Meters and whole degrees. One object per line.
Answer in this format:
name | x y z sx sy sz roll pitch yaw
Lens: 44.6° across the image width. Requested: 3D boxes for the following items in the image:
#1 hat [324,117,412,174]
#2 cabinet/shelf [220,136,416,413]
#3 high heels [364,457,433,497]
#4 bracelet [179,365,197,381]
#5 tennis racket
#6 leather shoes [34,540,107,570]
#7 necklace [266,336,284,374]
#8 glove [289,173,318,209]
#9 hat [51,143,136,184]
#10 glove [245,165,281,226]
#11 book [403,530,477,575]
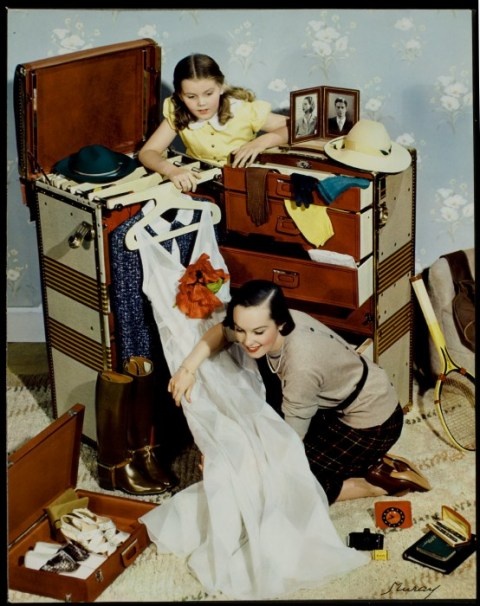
hat | 0.394 -0.498 1.810 0.292 0.103 0.259 -3 25 -31
cabinet/shelf | 0.131 -0.078 1.979 0.501 0.435 0.757 10 51 -6
high heels | 0.480 0.521 1.797 0.181 0.061 0.112 19 52 -3
bracelet | -0.141 0.188 1.590 0.032 0.028 0.036 -44 5 -26
tennis racket | 0.727 0.231 2.123 0.034 0.637 0.263 -26 -3 43
leather shoes | -0.460 0.656 1.536 0.117 0.039 0.073 4 9 9
necklace | 0.080 0.128 1.468 0.021 0.082 0.061 11 30 24
glove | 0.182 -0.326 1.699 0.089 0.086 0.027 10 7 10
hat | -0.448 -0.418 1.797 0.177 0.046 0.161 31 42 34
glove | 0.058 -0.323 1.817 0.087 0.181 0.040 10 20 30
book | 0.543 0.658 1.568 0.186 0.050 0.116 -11 19 -33
